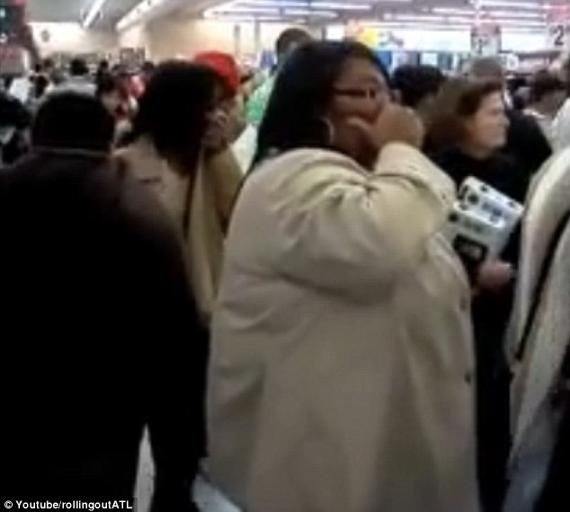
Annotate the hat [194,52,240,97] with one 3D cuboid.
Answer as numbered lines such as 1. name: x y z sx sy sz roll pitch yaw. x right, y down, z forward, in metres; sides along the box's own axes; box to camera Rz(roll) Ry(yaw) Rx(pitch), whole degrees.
1. hat: -0.150 -0.411 1.132 0.070 0.061 0.091 21 16 -21
